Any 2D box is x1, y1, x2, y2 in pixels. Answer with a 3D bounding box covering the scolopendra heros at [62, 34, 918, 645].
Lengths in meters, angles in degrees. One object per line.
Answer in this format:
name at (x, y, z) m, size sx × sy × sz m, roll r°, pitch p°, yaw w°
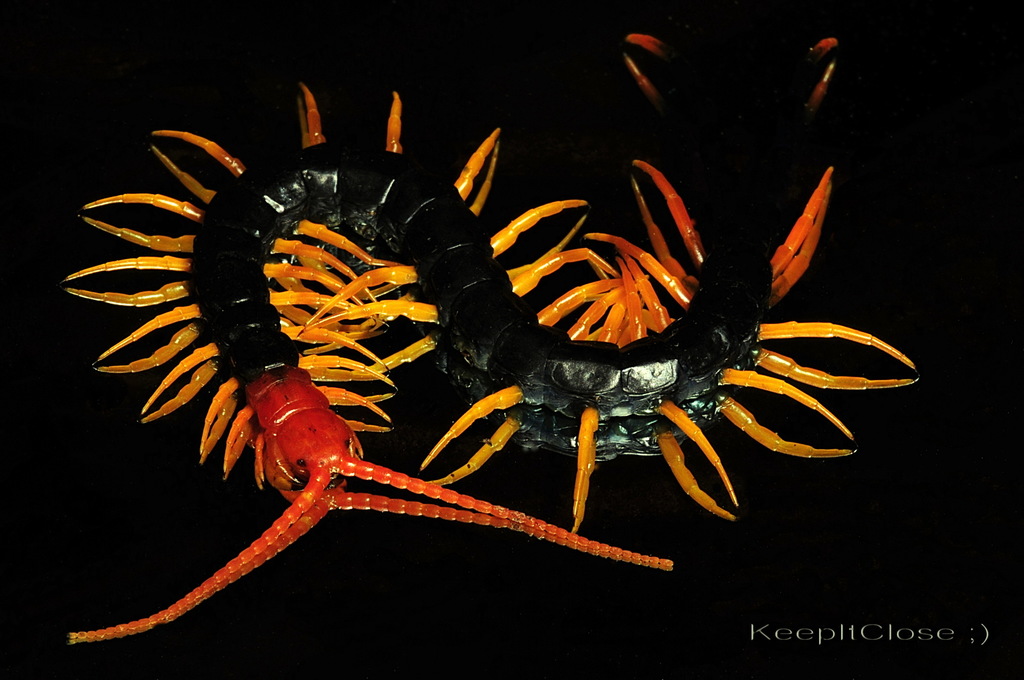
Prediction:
scolopendra heros at (-0.264, -0.054, 5.258) m, size 3.199 × 0.702 × 2.205 m, roll 0°, pitch 56°, yaw 7°
